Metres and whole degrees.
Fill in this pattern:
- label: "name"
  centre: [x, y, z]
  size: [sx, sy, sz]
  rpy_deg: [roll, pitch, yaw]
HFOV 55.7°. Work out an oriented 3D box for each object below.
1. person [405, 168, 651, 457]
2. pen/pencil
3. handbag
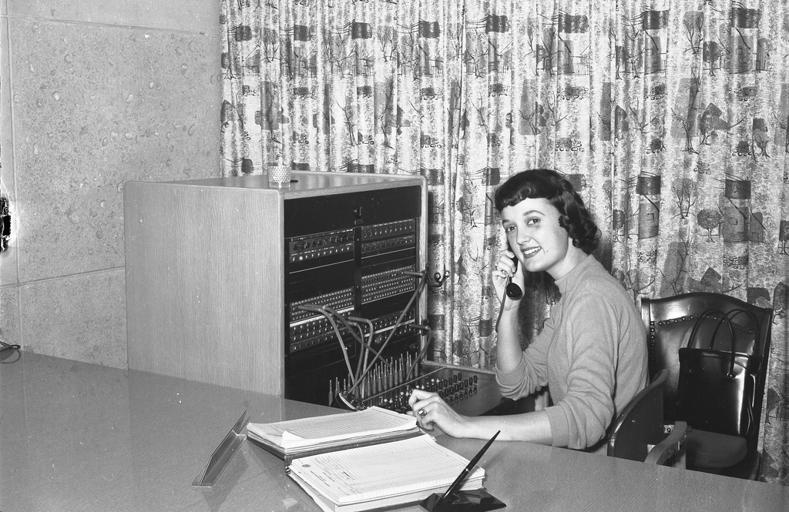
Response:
- label: "person"
  centre: [0.568, 0.230, 2.870]
  size: [0.782, 1.138, 0.928]
  rpy_deg: [-5, -1, 33]
- label: "pen/pencil"
  centre: [0.220, 0.613, 2.170]
  size: [0.191, 0.021, 0.020]
  rpy_deg: [-40, 43, -12]
- label: "handbag"
  centre: [1.324, 0.468, 3.016]
  size: [0.218, 0.507, 0.303]
  rpy_deg: [9, -6, -44]
